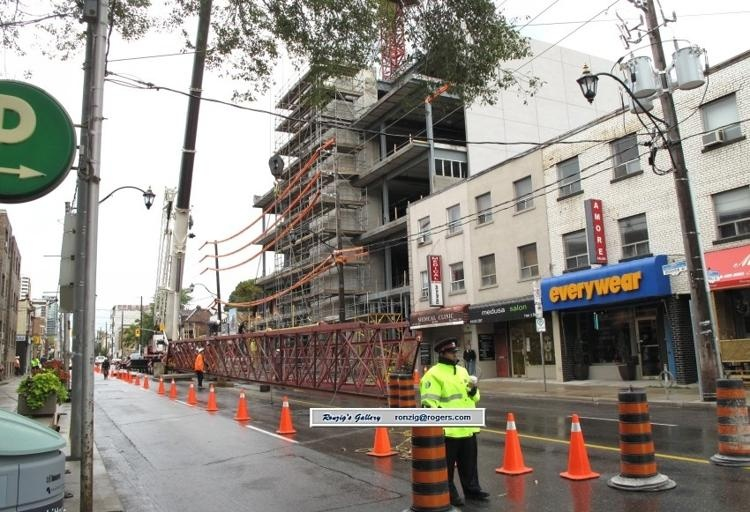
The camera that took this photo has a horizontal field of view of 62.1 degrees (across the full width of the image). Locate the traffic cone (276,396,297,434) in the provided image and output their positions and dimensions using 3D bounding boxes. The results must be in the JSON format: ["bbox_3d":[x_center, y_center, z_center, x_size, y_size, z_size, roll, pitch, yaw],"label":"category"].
[{"bbox_3d":[-2.472,4.396,17.156,0.703,0.938,0.680,3,-10,-26],"label":"traffic cone"}]

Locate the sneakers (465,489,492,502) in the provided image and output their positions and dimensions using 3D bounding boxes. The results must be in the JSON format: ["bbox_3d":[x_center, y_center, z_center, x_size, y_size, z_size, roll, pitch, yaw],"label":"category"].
[{"bbox_3d":[1.789,4.117,10.710,0.423,0.203,0.157,-4,-4,1],"label":"sneakers"}]

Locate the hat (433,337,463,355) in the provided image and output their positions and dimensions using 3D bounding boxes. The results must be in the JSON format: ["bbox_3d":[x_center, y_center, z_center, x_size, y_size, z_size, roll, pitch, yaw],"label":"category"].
[{"bbox_3d":[1.202,1.559,10.754,0.285,0.133,0.318,7,-24,-36],"label":"hat"}]
